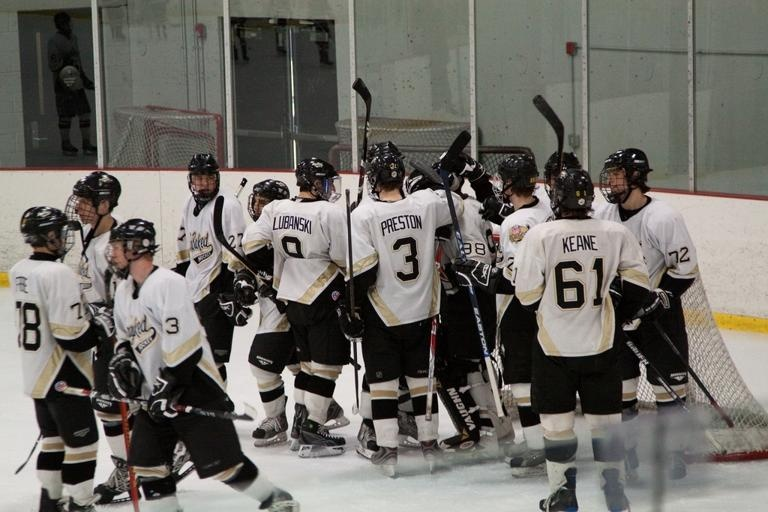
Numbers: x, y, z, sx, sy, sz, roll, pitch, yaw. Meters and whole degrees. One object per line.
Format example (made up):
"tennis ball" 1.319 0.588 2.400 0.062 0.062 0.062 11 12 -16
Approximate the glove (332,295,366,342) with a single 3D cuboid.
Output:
"glove" -0.231 0.443 6.825 0.172 0.295 0.119 -21 1 -34

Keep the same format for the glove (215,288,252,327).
"glove" -1.140 0.402 7.341 0.104 0.267 0.210 -34 50 -1

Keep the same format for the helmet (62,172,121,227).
"helmet" -2.051 -0.403 6.912 0.405 0.403 0.307 9 0 -23

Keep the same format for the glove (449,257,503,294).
"glove" 0.624 0.131 6.450 0.308 0.197 0.115 12 36 37

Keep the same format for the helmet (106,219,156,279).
"helmet" -1.528 -0.038 5.928 0.336 0.419 0.314 -4 1 -13

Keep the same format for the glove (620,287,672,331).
"glove" 1.738 0.355 6.350 0.297 0.127 0.301 -37 -24 0

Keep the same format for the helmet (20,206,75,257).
"helmet" -2.222 -0.164 6.457 0.354 0.333 0.277 -4 8 -32

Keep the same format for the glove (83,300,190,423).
"glove" -1.846 0.702 6.516 0.561 0.755 0.295 -4 2 32
